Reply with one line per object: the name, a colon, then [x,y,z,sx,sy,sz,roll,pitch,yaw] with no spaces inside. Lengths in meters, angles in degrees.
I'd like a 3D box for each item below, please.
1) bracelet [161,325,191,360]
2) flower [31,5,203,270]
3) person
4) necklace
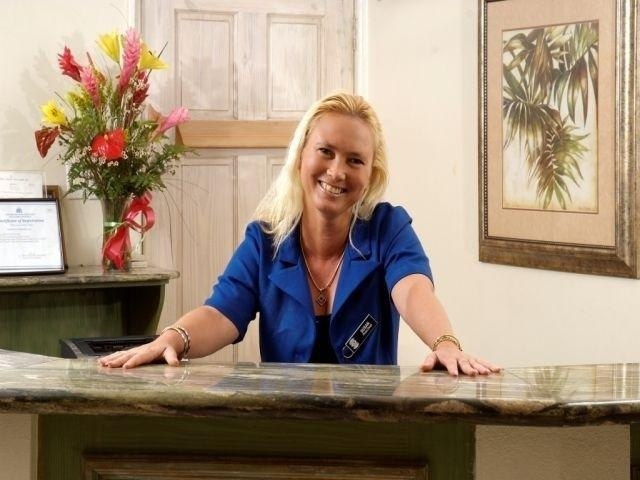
bracelet: [-0.391,0.270,1.974,0.075,0.084,0.030,-36,2,44]
flower: [-0.929,-0.389,3.288,0.660,1.015,0.458,-6,16,-41]
person: [-0.029,0.006,2.172,0.973,0.875,0.634,1,-1,1]
necklace: [0.010,0.101,2.192,0.129,0.270,0.020,5,33,6]
